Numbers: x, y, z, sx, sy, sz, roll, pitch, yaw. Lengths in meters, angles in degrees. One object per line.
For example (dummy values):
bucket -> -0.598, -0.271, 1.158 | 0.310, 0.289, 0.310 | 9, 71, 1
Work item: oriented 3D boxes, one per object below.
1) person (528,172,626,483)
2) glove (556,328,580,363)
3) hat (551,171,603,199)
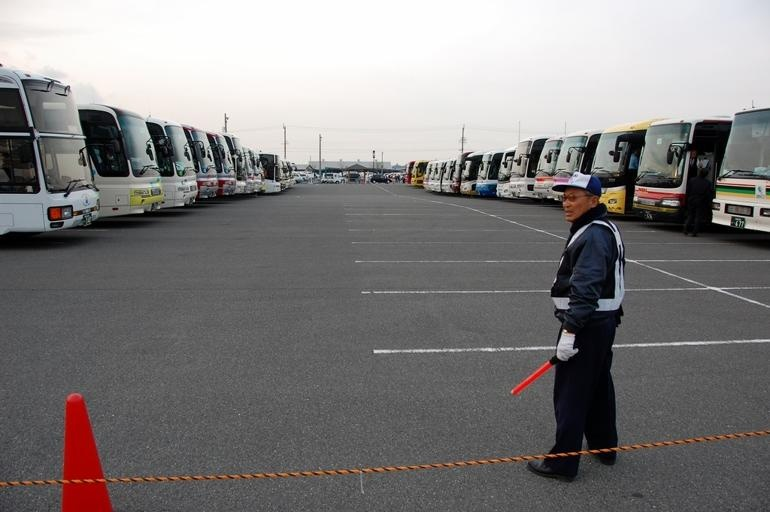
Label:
person -> 1.660, 0.599, 4.284 | 0.636, 2.498, 0.816 | 7, 14, 30
glove -> 1.491, 0.744, 4.203 | 0.167, 0.317, 0.158 | 4, 13, 18
hat -> 1.624, -0.606, 4.327 | 0.398, 0.181, 0.228 | 4, -1, -15
